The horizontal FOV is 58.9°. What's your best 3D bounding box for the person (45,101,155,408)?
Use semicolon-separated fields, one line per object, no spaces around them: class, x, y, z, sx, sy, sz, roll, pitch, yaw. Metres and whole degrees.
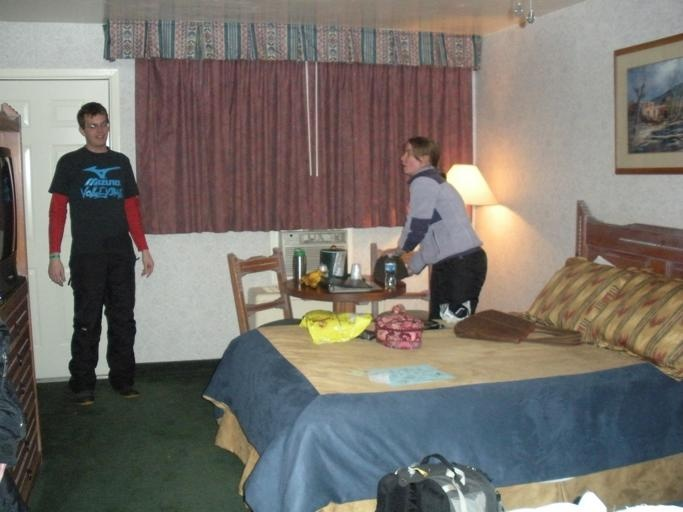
person;-1.867;-0.005;4.714;0.756;2.286;0.383;-5;13;-27

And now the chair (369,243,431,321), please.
chair;0.452;0.184;4.938;0.489;0.781;0.474;0;1;14

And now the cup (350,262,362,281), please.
cup;0.121;0.123;4.595;0.103;0.120;0.106;-2;5;0

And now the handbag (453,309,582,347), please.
handbag;1.079;0.443;3.713;0.749;0.102;0.427;3;12;12

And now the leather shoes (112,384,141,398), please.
leather shoes;-1.756;1.084;4.937;0.241;0.099;0.083;0;-1;31

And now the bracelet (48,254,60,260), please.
bracelet;-2.152;0.004;4.537;0.061;0.039;0.058;-7;14;-32

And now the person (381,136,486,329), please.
person;0.695;0.021;4.697;0.846;1.859;0.524;6;14;37
